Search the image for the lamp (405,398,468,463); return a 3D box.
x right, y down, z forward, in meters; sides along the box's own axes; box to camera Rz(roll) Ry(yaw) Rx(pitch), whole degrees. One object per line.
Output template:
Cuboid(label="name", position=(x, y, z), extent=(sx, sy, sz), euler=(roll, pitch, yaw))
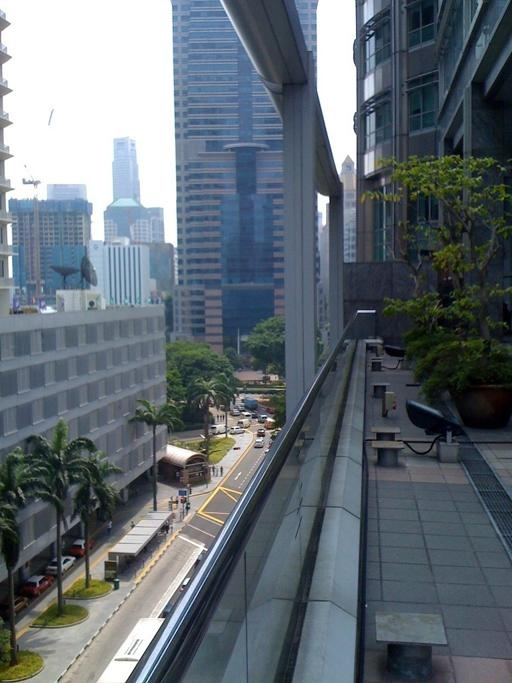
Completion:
Cuboid(label="lamp", position=(2.747, 1.356, 10.977), extent=(0.763, 0.594, 0.741), euler=(-4, 6, 1))

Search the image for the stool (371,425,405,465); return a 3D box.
Cuboid(label="stool", position=(1.800, 1.436, 9.962), extent=(0.397, 0.526, 0.941), euler=(2, 0, 9))

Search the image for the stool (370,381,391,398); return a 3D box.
Cuboid(label="stool", position=(2.691, 1.051, 15.714), extent=(0.301, 0.312, 0.314), euler=(0, 0, -1))

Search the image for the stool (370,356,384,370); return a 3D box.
Cuboid(label="stool", position=(3.413, 0.620, 20.252), extent=(0.403, 0.308, 0.283), euler=(-1, -1, 6))
